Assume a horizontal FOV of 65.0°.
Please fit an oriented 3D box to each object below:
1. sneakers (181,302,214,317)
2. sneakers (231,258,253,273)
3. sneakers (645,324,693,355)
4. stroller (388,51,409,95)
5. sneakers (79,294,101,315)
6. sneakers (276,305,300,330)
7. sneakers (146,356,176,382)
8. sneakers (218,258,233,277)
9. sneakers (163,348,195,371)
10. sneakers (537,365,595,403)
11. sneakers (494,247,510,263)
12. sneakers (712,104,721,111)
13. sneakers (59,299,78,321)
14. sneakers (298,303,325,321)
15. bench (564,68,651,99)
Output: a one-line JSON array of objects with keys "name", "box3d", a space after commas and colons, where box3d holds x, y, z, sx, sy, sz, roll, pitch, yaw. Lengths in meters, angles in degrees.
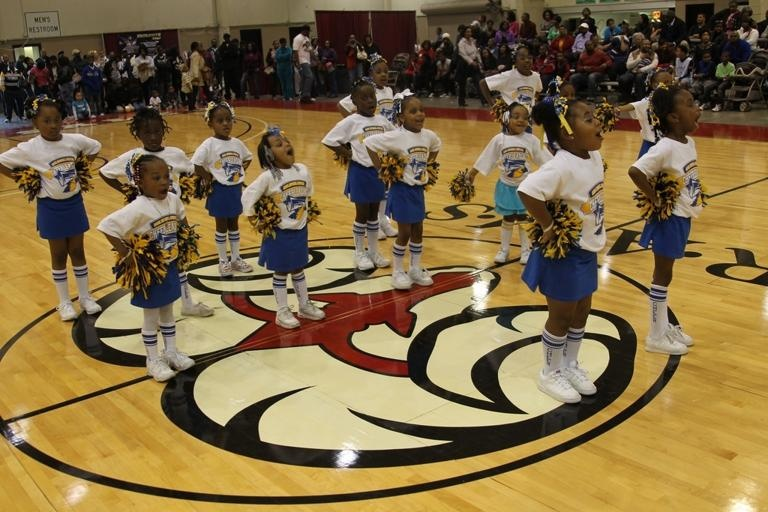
[{"name": "sneakers", "box3d": [-1.682, 0.495, 5.491, 0.306, 0.109, 0.111, 2, 13, 4]}, {"name": "sneakers", "box3d": [-1.504, 0.090, 6.369, 0.228, 0.136, 0.208, -4, 15, -17]}, {"name": "sneakers", "box3d": [2.148, 0.652, 4.535, 0.255, 0.101, 0.294, -1, 13, 17]}, {"name": "stroller", "box3d": [0.465, -5.584, 18.232, 0.632, 1.106, 1.060, 0, 15, 1]}, {"name": "sneakers", "box3d": [-2.719, 0.459, 5.585, 0.110, 0.097, 0.280, -14, 17, -41]}, {"name": "sneakers", "box3d": [-0.824, 0.525, 5.174, 0.142, 0.173, 0.244, -12, 19, -38]}, {"name": "sneakers", "box3d": [-1.681, 0.850, 4.569, 0.166, 0.155, 0.249, -10, 18, -35]}, {"name": "sneakers", "box3d": [-1.643, 0.113, 6.266, 0.137, 0.171, 0.182, -4, 15, -14]}, {"name": "sneakers", "box3d": [-1.571, 0.810, 4.617, 0.257, 0.101, 0.121, 11, 27, 17]}, {"name": "sneakers", "box3d": [1.260, 0.878, 4.142, 0.280, 0.179, 0.275, -7, 16, -27]}, {"name": "sneakers", "box3d": [1.199, -0.003, 6.176, 0.121, 0.137, 0.148, 6, 16, 21]}, {"name": "sneakers", "box3d": [6.842, -3.073, 12.405, 0.098, 0.114, 0.273, -1, 29, 17]}, {"name": "sneakers", "box3d": [-2.857, 0.510, 5.472, 0.104, 0.094, 0.255, -13, 13, -32]}, {"name": "sneakers", "box3d": [-0.627, 0.485, 5.267, 0.256, 0.112, 0.112, 4, 21, 14]}, {"name": "bench", "box3d": [4.953, -3.837, 13.423, 1.432, 0.698, 2.363, 3, 14, 13]}]
